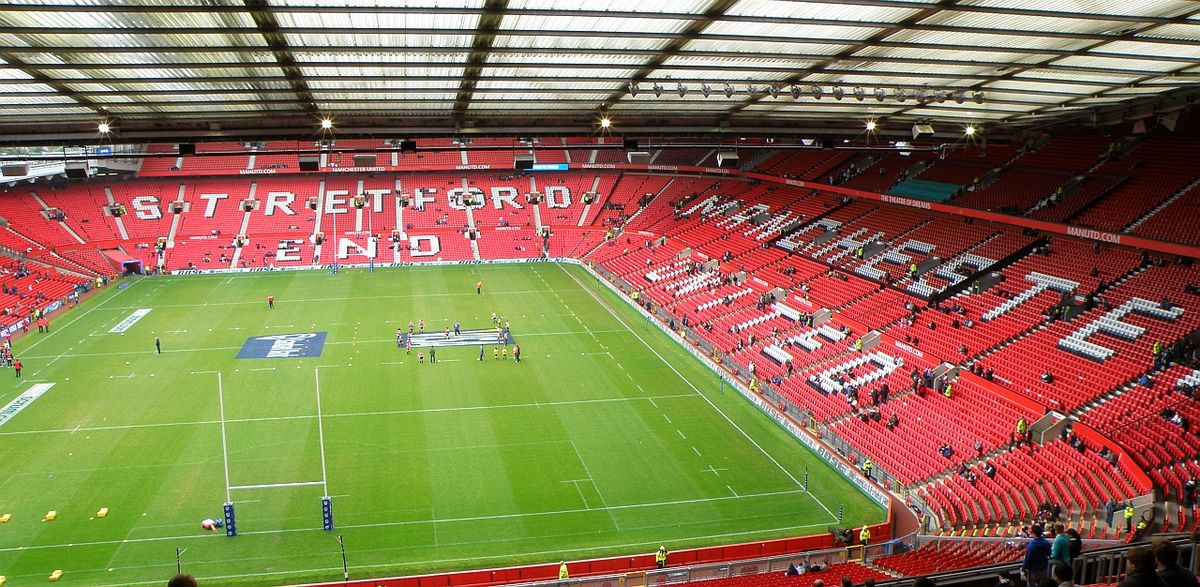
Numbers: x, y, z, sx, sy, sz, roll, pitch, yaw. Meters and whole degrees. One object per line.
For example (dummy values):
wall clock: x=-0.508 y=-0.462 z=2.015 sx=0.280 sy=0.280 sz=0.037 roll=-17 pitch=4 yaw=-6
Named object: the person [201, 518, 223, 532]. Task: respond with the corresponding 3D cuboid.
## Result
person: x=-21.696 y=12.721 z=36.247 sx=0.768 sy=0.949 sz=0.264 roll=0 pitch=-86 yaw=-38
